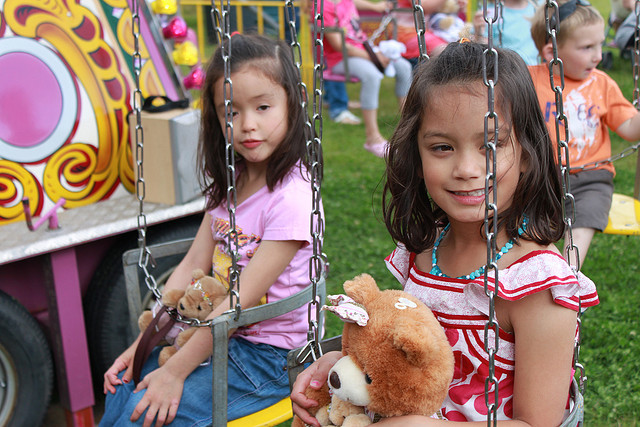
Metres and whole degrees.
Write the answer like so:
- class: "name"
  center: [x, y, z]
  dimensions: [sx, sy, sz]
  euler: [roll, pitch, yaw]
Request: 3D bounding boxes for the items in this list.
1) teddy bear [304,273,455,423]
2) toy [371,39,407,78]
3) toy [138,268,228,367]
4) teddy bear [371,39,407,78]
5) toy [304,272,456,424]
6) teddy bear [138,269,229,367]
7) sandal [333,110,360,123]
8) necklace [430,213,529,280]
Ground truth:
- class: "teddy bear"
  center: [0.231, 0.461, 2.257]
  dimensions: [0.428, 0.415, 0.290]
  euler: [5, 22, 14]
- class: "toy"
  center: [0.722, -1.627, 7.077]
  dimensions: [0.332, 0.417, 0.170]
  euler: [1, 6, -7]
- class: "toy"
  center: [-0.586, 0.450, 2.935]
  dimensions: [0.286, 0.384, 0.312]
  euler: [8, 27, -48]
- class: "teddy bear"
  center: [0.732, -1.630, 7.093]
  dimensions: [0.320, 0.422, 0.153]
  euler: [0, 11, -6]
- class: "toy"
  center: [0.204, 0.474, 2.369]
  dimensions: [0.394, 0.548, 0.452]
  euler: [-10, 48, -27]
- class: "teddy bear"
  center: [-0.603, 0.449, 2.941]
  dimensions: [0.288, 0.364, 0.293]
  euler: [32, 22, 17]
- class: "sandal"
  center: [0.300, -1.152, 7.886]
  dimensions: [0.319, 0.165, 0.125]
  euler: [3, 13, 11]
- class: "necklace"
  center: [0.549, 0.106, 2.397]
  dimensions: [0.325, 0.244, 0.197]
  euler: [16, 27, 35]
